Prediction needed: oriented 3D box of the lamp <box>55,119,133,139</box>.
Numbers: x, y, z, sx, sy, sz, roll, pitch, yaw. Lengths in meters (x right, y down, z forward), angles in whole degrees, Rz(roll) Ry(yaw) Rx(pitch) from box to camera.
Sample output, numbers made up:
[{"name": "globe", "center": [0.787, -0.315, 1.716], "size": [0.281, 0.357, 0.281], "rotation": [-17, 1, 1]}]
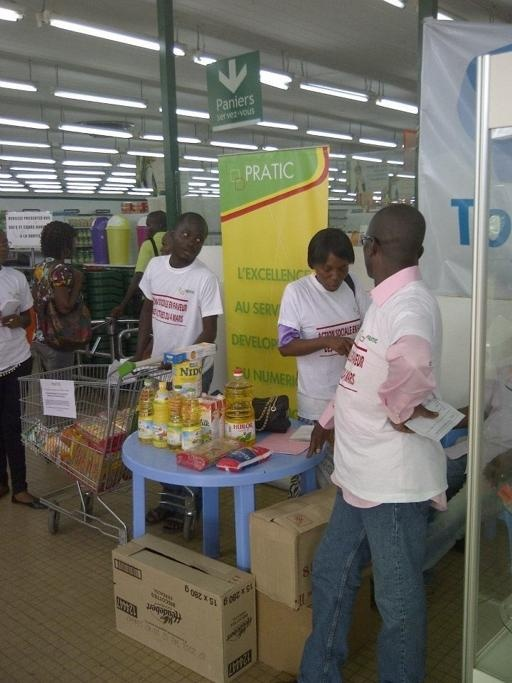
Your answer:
[{"name": "lamp", "center": [-3.621, -4.649, 11.935], "size": [1.309, 0.300, 0.938], "rotation": [-1, 10, -4]}]

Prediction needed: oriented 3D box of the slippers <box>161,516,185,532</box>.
[{"name": "slippers", "center": [-0.489, 1.070, 3.182], "size": [0.111, 0.070, 0.082], "rotation": [4, 5, 37]}]

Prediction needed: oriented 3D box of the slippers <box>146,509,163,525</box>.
[{"name": "slippers", "center": [-0.612, 1.053, 3.261], "size": [0.080, 0.038, 0.108], "rotation": [15, 53, 21]}]

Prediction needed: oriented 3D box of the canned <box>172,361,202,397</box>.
[{"name": "canned", "center": [-0.291, 0.152, 2.264], "size": [0.140, 0.147, 0.135], "rotation": [0, 0, -12]}]
